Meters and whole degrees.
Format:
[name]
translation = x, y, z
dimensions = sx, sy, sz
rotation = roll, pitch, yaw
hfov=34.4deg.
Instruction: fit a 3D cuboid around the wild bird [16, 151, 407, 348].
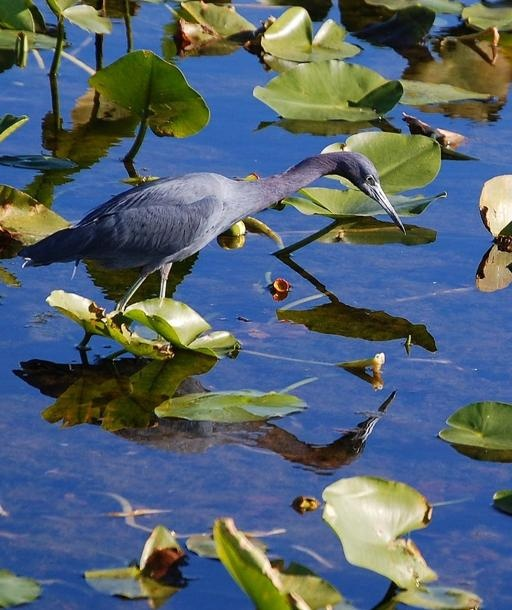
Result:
[wild bird]
translation = -0.235, -0.321, 3.704
dimensions = 1.657, 0.785, 0.310
rotation = 10, 6, 17
